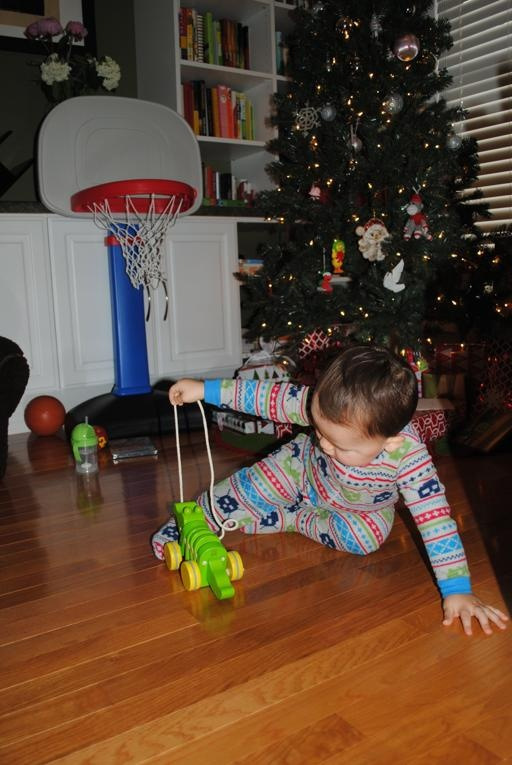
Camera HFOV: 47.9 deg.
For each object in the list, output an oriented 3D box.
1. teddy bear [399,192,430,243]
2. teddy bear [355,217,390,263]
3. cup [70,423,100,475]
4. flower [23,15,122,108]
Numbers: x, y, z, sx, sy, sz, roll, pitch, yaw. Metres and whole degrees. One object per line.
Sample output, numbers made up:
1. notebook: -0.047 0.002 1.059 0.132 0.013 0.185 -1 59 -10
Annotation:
1. teddy bear: 0.572 -0.596 2.060 0.090 0.179 0.117 -1 7 13
2. teddy bear: 0.427 -0.527 2.128 0.157 0.154 0.152 2 8 30
3. cup: -0.550 0.215 1.856 0.071 0.135 0.078 -6 4 0
4. flower: -0.804 -1.381 2.516 0.319 0.362 0.277 15 42 -14
